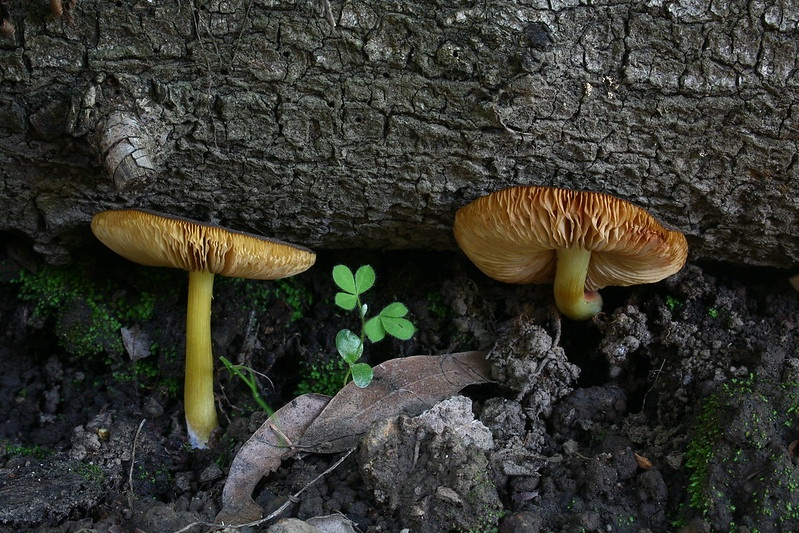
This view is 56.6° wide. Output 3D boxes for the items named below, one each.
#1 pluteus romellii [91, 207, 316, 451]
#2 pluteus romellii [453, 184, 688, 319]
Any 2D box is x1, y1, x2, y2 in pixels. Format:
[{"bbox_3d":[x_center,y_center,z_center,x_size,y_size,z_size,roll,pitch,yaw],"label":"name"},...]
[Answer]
[{"bbox_3d":[-1.410,0.430,5.214,1.480,1.637,1.419,2,-1,-40],"label":"pluteus romellii"},{"bbox_3d":[1.102,-0.094,4.985,1.509,1.028,0.557,10,25,4],"label":"pluteus romellii"}]
